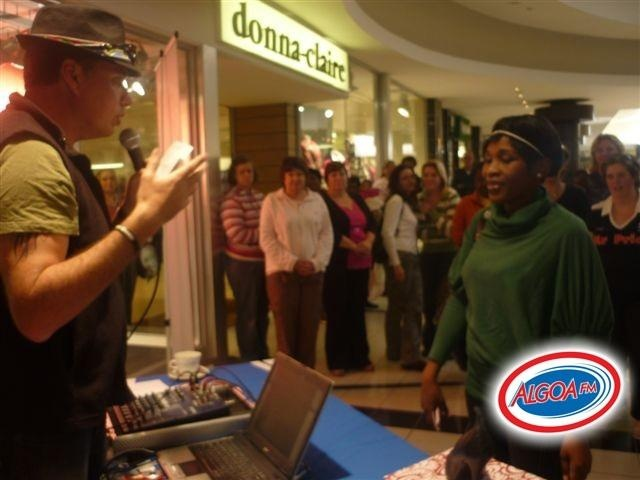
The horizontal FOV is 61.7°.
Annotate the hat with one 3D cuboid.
[{"bbox_3d":[-0.588,-0.460,1.304,0.211,0.088,0.178,16,7,-16],"label":"hat"}]

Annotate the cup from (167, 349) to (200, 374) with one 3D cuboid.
[{"bbox_3d":[-0.548,0.478,2.131,0.104,0.070,0.086,-2,1,-12],"label":"cup"}]

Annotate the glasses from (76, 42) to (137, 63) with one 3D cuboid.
[{"bbox_3d":[-0.512,-0.452,1.308,0.077,0.021,0.059,4,10,-13],"label":"glasses"}]
